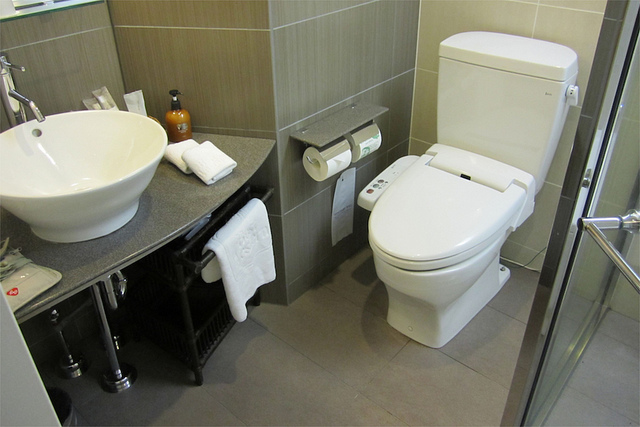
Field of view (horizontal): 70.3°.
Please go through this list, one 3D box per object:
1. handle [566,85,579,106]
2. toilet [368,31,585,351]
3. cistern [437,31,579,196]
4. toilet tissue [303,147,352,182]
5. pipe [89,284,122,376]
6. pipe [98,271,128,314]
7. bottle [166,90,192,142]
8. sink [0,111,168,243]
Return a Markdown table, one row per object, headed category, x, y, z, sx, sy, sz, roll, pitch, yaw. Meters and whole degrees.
| category | x | y | z | sx | sy | sz | roll | pitch | yaw |
| --- | --- | --- | --- | --- | --- | --- | --- | --- | --- |
| handle | 0.994 | -0.471 | 1.798 | 0.044 | 0.087 | 0.064 | 9 | 28 | 31 |
| toilet | 0.620 | -0.027 | 1.981 | 0.670 | 1.119 | 1.067 | 21 | 42 | 33 |
| cistern | 0.848 | -0.491 | 2.072 | 0.671 | 0.789 | 0.260 | 11 | 56 | 25 |
| toilet tissue | 0.034 | -0.218 | 1.881 | 0.129 | 0.137 | 0.160 | 6 | 23 | 41 |
| pipe | -0.813 | 0.445 | 1.727 | 0.076 | 0.378 | 0.078 | -9 | 7 | 34 |
| pipe | -0.775 | 0.301 | 1.670 | 0.064 | 0.113 | 0.113 | -22 | -6 | -1 |
| bottle | -0.547 | -0.376 | 1.734 | 0.085 | 0.197 | 0.085 | 3 | 40 | -2 |
| sink | -0.693 | -0.121 | 1.385 | 0.471 | 0.263 | 0.446 | -21 | 41 | -21 |
